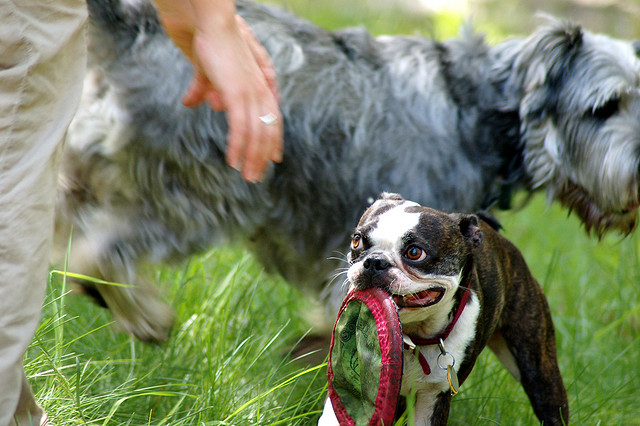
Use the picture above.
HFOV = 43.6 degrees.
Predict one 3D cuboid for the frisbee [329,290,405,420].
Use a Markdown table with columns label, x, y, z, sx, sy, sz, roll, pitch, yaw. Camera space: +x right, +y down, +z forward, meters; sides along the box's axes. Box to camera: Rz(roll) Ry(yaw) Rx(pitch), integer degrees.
| label | x | y | z | sx | sy | sz | roll | pitch | yaw |
| --- | --- | --- | --- | --- | --- | --- | --- | --- | --- |
| frisbee | 0.203 | 0.634 | 3.541 | 0.113 | 0.513 | 0.502 | 1 | 37 | -12 |
